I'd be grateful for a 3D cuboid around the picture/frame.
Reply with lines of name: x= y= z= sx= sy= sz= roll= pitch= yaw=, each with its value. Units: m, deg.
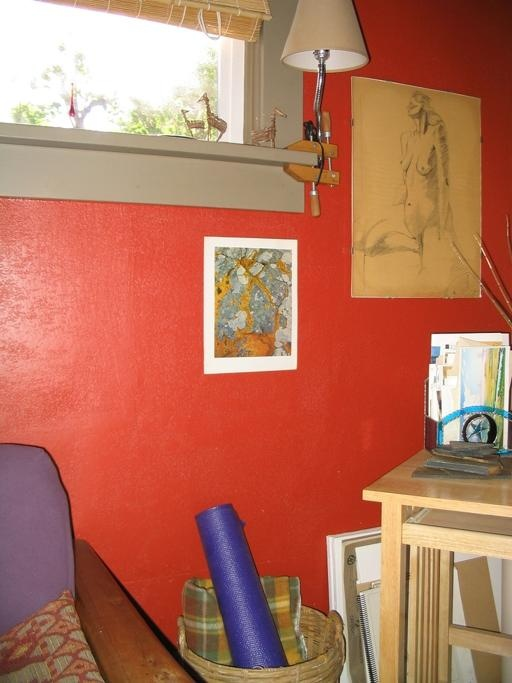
picture/frame: x=-0.026 y=-0.112 z=1.700 sx=0.411 sy=0.526 sz=0.033 roll=-5 pitch=7 yaw=-27
